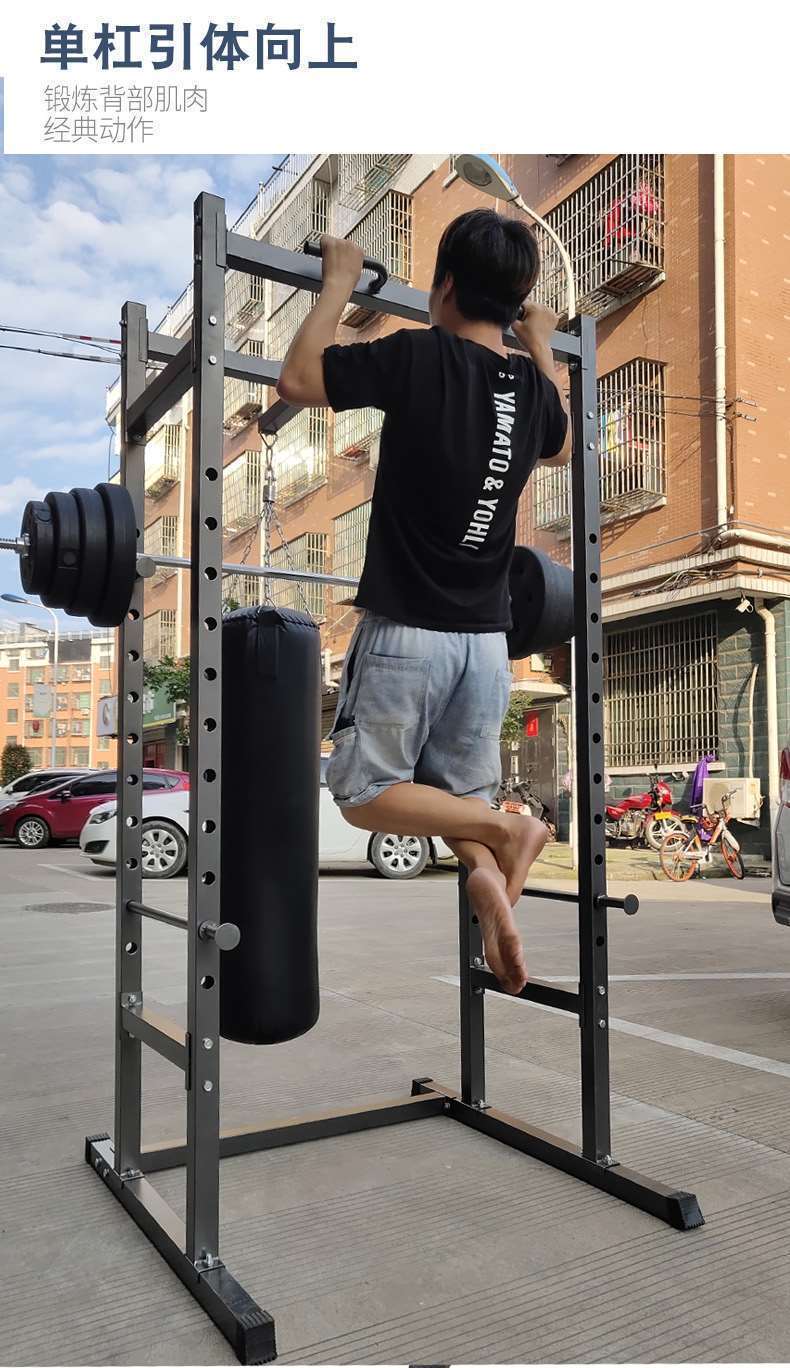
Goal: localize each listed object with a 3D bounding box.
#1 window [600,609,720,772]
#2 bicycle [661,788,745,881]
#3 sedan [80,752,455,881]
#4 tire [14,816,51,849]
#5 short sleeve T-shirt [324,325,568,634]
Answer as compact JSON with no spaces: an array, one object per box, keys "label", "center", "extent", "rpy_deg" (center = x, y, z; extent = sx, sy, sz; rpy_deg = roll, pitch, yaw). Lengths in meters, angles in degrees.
[{"label":"window","center":[3.255,0.096,14.216],"extent":[0.096,2.137,1.885],"rpy_deg":[3,-4,-27]},{"label":"bicycle","center":[3.072,1.526,11.687],"extent":[1.122,0.778,0.598],"rpy_deg":[2,-15,-31]},{"label":"sedan","center":[-1.208,1.514,11.347],"extent":[3.638,1.345,1.646],"rpy_deg":[2,-28,-17]},{"label":"tire","center":[-5.038,2.069,16.368],"extent":[0.394,0.449,0.148],"rpy_deg":[-1,-7,3]},{"label":"short sleeve T-shirt","center":[0.126,-0.397,2.497],"extent":[0.588,0.613,0.337],"rpy_deg":[6,-2,-30]}]
